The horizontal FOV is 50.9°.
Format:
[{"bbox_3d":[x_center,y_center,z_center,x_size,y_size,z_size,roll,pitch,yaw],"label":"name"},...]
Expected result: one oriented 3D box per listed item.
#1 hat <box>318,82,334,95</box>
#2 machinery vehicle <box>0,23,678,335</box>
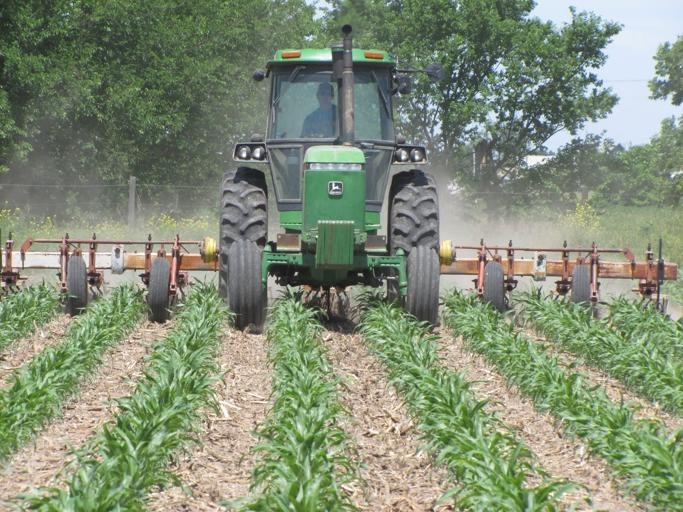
[{"bbox_3d":[-0.212,-2.199,9.426,0.137,0.170,0.203,3,11,6],"label":"hat"},{"bbox_3d":[-0.031,-0.930,9.614,7.887,3.905,2.872,1,0,-13],"label":"machinery vehicle"}]
